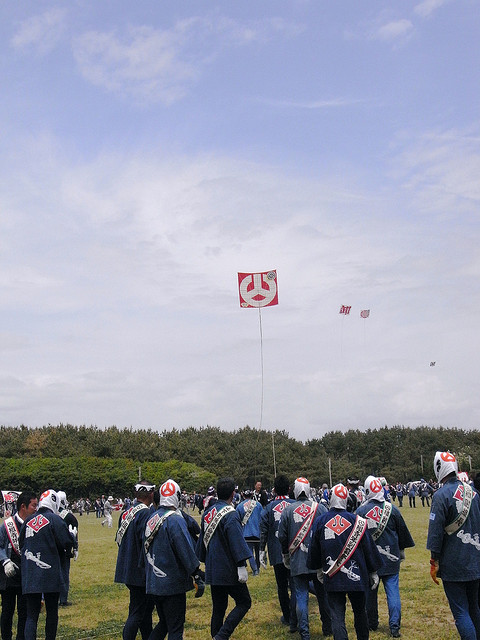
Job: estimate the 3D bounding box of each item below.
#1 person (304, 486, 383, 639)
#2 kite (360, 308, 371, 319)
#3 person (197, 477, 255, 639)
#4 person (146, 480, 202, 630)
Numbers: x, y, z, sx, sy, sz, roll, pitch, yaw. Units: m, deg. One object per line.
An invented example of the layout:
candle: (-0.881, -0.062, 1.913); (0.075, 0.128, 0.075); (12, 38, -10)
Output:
person: (1.317, 3.019, 10.311); (0.928, 1.839, 0.486); (-3, -11, 6)
kite: (5.177, -0.247, 34.283); (0.553, 0.272, 0.678); (-6, 10, 22)
person: (-0.188, 3.006, 10.435); (0.485, 1.963, 0.885); (7, -14, -39)
person: (-0.822, 2.893, 10.119); (0.677, 1.706, 0.400); (-3, -11, 11)
